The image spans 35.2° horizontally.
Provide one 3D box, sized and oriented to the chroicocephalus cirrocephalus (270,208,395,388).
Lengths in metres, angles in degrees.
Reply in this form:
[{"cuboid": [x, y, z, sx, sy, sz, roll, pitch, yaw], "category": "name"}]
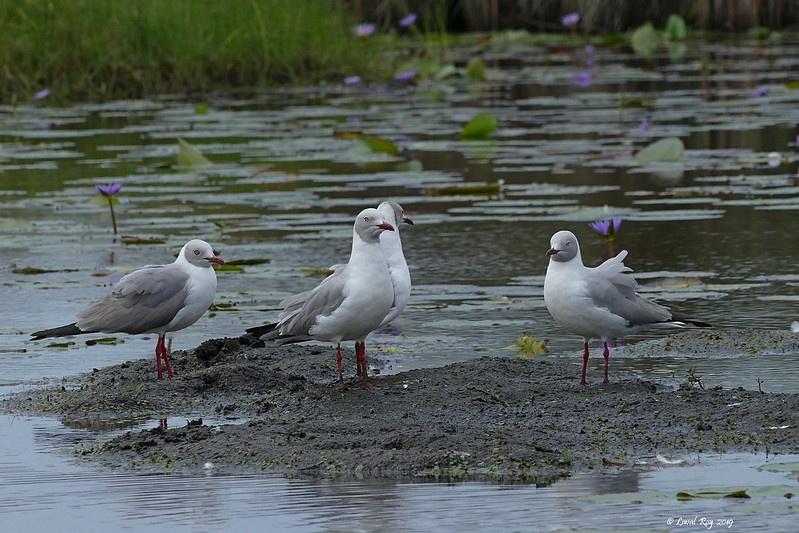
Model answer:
[{"cuboid": [-0.643, 0.199, 13.015, 1.154, 1.535, 0.482, -1, 8, -1], "category": "chroicocephalus cirrocephalus"}]
